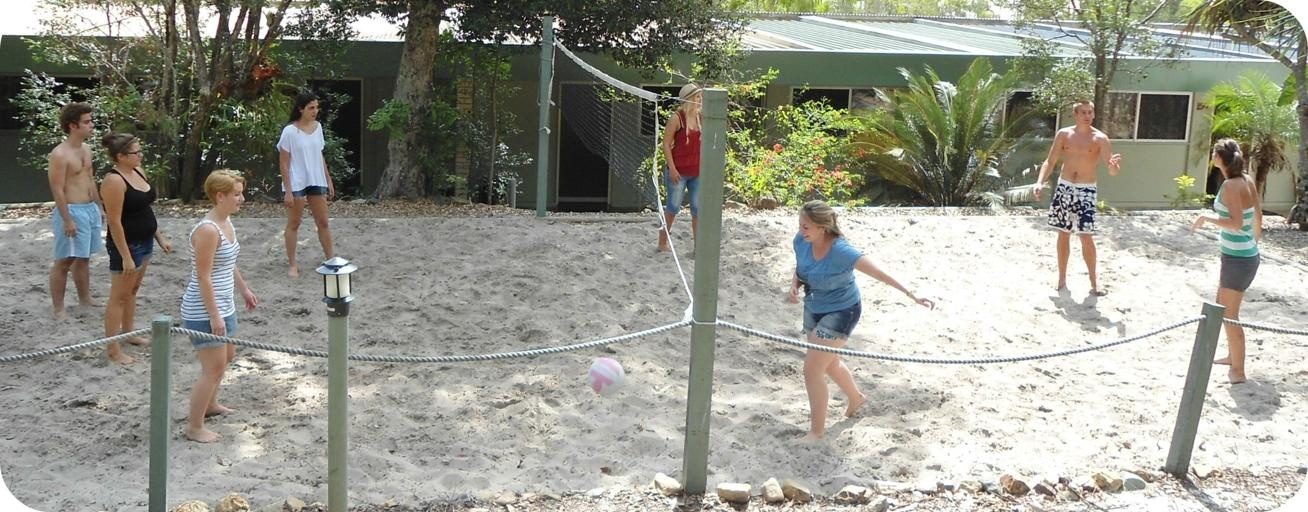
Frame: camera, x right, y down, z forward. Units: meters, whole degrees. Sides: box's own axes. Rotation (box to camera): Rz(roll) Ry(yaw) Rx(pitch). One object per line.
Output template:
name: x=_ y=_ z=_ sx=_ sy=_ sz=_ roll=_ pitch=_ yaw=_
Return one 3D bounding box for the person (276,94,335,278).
person: x=-7.231 y=-1.482 z=21.657 sx=0.998 sy=3.806 sz=1.200 roll=-2 pitch=18 yaw=-16
